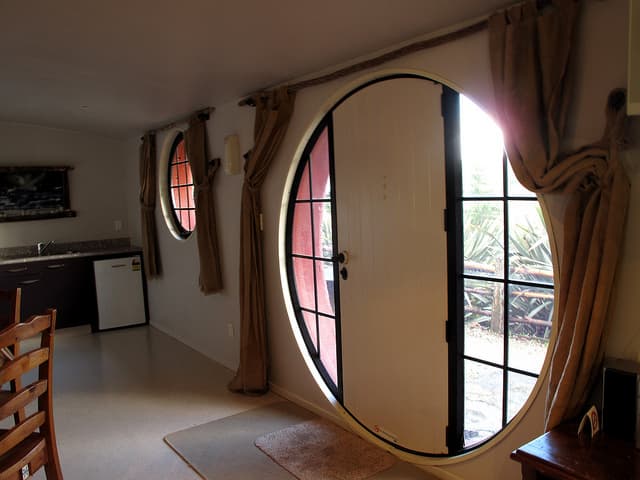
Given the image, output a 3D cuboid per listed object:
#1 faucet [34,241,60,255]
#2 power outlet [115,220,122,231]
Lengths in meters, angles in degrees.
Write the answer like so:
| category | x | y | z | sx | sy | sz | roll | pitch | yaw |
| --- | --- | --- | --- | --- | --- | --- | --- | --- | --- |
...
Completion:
| category | x | y | z | sx | sy | sz | roll | pitch | yaw |
| --- | --- | --- | --- | --- | --- | --- | --- | --- | --- |
| faucet | -3.385 | 0.104 | 6.114 | 0.199 | 0.143 | 0.151 | -9 | 10 | -31 |
| power outlet | -2.709 | -0.196 | 6.658 | 0.134 | 0.200 | 0.025 | -2 | 5 | -37 |
